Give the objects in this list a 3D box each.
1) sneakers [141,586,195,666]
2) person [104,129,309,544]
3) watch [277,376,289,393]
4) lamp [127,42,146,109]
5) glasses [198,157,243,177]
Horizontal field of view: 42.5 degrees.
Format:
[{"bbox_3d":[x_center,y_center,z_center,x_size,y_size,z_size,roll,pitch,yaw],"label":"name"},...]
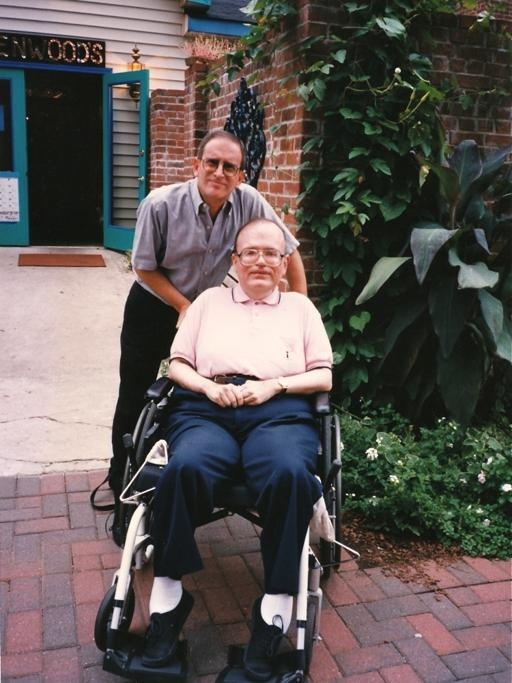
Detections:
[{"bbox_3d":[-0.243,0.811,1.865,0.070,0.073,0.187,-8,29,23],"label":"sneakers"},{"bbox_3d":[-0.194,-0.034,2.894,0.805,1.694,0.724,1,19,-9],"label":"person"},{"bbox_3d":[0.087,0.150,2.244,0.033,0.043,0.042,5,4,-7],"label":"watch"},{"bbox_3d":[-1.687,-3.784,9.285,0.208,0.831,0.660,2,13,-11],"label":"lamp"},{"bbox_3d":[-0.121,-0.666,2.521,0.168,0.058,0.087,0,13,-17],"label":"glasses"}]
